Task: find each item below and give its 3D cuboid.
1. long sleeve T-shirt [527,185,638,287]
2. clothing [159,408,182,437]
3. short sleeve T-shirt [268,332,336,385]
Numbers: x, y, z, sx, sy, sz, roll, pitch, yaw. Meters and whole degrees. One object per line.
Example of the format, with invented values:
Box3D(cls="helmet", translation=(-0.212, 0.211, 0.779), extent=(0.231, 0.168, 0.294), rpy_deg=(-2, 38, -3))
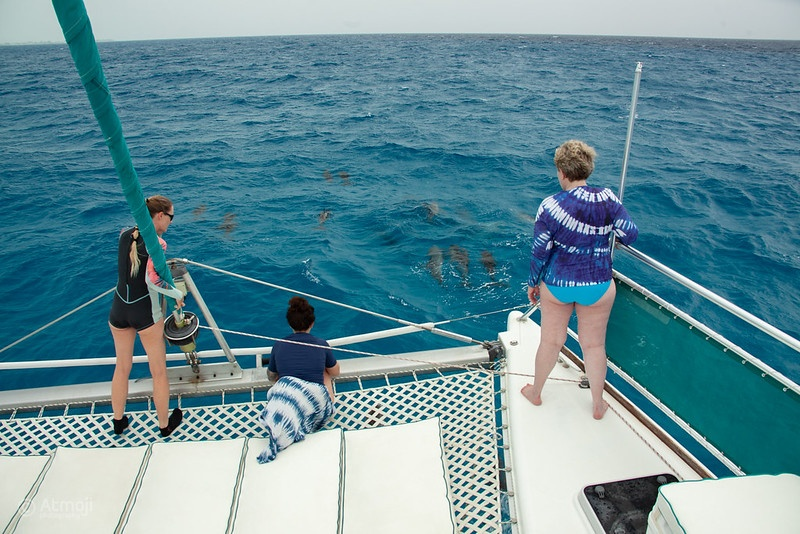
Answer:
Box3D(cls="long sleeve T-shirt", translation=(1.986, -0.323, 6.036), extent=(1.429, 1.133, 0.694), rpy_deg=(-7, 13, -16))
Box3D(cls="clothing", translation=(-2.700, 1.877, 6.265), extent=(0.146, 0.128, 0.323), rpy_deg=(10, 49, 1))
Box3D(cls="short sleeve T-shirt", translation=(-1.114, 1.079, 6.305), extent=(0.619, 0.681, 0.651), rpy_deg=(3, 25, -4))
